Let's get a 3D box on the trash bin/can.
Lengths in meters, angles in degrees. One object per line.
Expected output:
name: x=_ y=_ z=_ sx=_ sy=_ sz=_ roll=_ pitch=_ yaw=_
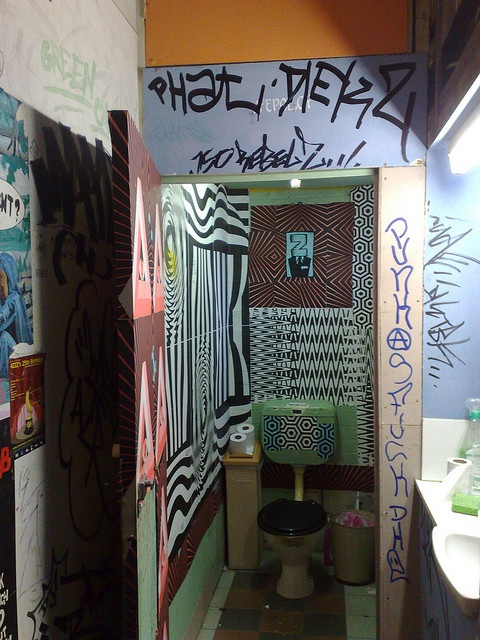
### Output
trash bin/can: x=0.617 y=1.244 z=2.816 sx=0.236 sy=0.329 sz=0.246 roll=0 pitch=0 yaw=11

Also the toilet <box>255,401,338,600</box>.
toilet: x=0.331 y=0.964 z=2.833 sx=0.461 sy=0.903 sz=0.818 roll=0 pitch=1 yaw=5

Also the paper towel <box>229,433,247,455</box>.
paper towel: x=-0.010 y=0.726 z=2.970 sx=0.077 sy=0.130 sz=0.097 roll=0 pitch=0 yaw=6
